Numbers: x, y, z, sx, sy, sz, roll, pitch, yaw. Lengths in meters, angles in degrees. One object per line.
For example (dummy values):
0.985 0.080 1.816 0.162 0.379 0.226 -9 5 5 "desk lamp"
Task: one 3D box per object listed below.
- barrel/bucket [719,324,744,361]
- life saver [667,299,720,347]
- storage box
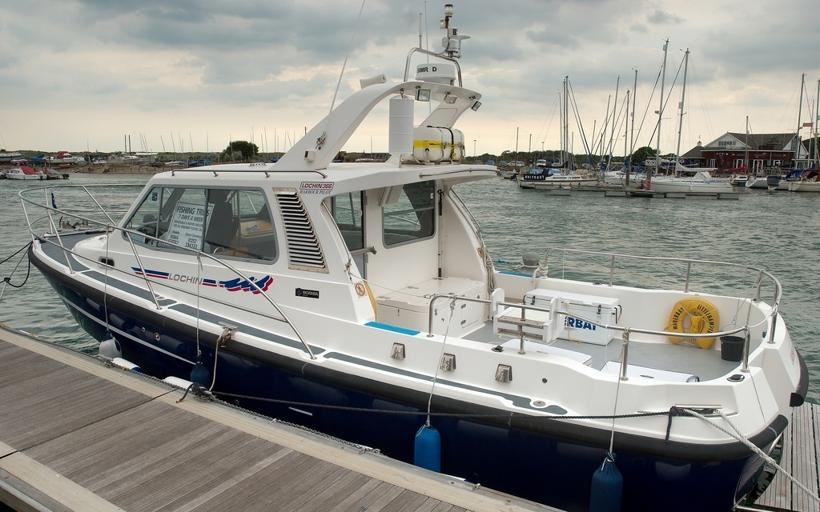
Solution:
3.580 1.047 6.467 0.219 0.342 0.375 5 13 25 "barrel/bucket"
3.487 0.820 7.091 0.638 0.700 0.732 2 7 18 "life saver"
2.054 0.783 7.373 1.177 0.472 0.574 5 4 30 "storage box"
